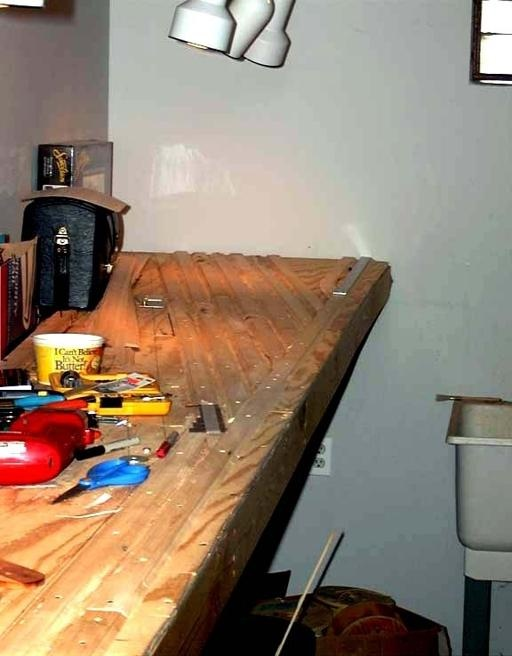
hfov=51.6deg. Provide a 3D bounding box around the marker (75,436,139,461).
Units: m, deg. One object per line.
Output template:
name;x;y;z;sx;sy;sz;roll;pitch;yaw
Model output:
marker;-0.136;0.111;0.501;0.015;0.010;0.068;42;23;28

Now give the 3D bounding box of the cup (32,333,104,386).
cup;-0.245;0.045;0.735;0.111;0.064;0.111;1;0;0

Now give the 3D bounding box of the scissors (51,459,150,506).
scissors;-0.131;0.127;0.437;0.023;0.007;0.055;19;22;40

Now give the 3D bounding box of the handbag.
handbag;-0.383;-0.188;1.230;0.200;0.242;0.305;3;14;-4

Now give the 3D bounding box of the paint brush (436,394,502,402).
paint brush;0.846;0.279;2.100;0.260;0.033;0.027;1;-32;2
